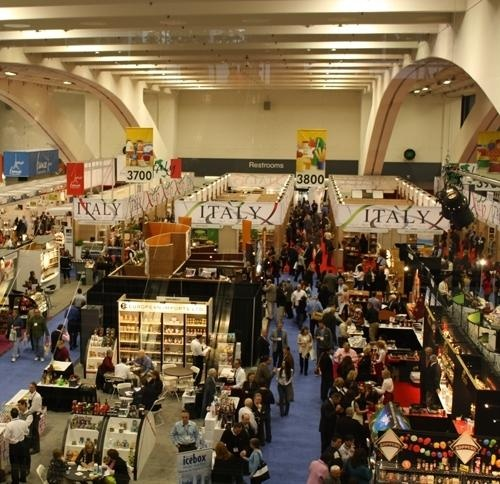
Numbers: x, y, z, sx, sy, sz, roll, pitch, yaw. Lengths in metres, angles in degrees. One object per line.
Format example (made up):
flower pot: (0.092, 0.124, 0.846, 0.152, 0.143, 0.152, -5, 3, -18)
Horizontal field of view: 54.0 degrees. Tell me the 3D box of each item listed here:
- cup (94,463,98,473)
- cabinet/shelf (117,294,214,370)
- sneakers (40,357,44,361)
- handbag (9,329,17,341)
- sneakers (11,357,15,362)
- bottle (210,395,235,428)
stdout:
cup: (-1.816, 2.663, 5.773, 0.039, 0.103, 0.047, 2, 3, 2)
cabinet/shelf: (-1.723, 1.812, 9.653, 1.772, 1.380, 0.331, 2, 5, -2)
sneakers: (-4.429, 2.507, 10.449, 0.033, 0.061, 0.129, 3, 11, -4)
handbag: (-5.014, 1.951, 10.305, 0.259, 0.265, 0.097, 7, 8, 44)
sneakers: (-5.034, 2.507, 10.420, 0.038, 0.073, 0.152, 0, -3, -8)
bottle: (-0.365, 2.427, 7.047, 0.193, 0.173, 0.407, 1, 16, 1)
